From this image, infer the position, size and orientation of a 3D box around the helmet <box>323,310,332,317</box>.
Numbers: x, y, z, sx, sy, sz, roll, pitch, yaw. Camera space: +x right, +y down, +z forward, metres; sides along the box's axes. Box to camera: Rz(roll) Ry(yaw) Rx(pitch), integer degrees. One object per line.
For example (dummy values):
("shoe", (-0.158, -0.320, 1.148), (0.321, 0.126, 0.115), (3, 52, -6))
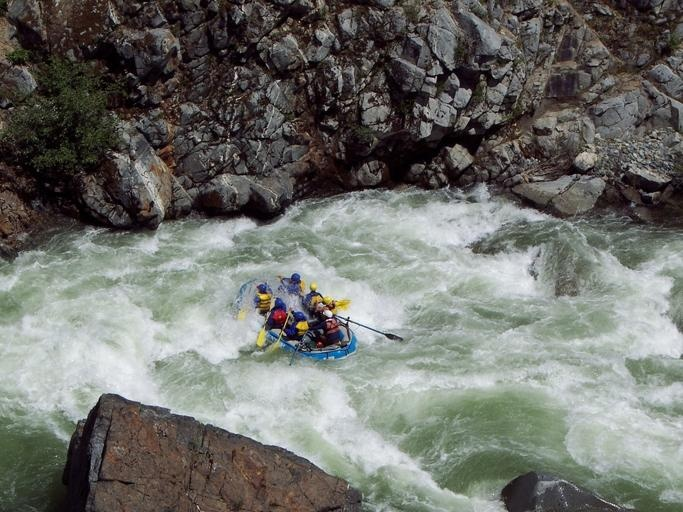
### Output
("helmet", (-0.591, 2.757, 32.520), (0.444, 0.170, 0.359), (0, 76, -5))

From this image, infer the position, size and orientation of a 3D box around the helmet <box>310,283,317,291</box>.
("helmet", (-1.399, 1.565, 34.425), (0.268, 0.290, 0.392), (-3, 93, 27))
